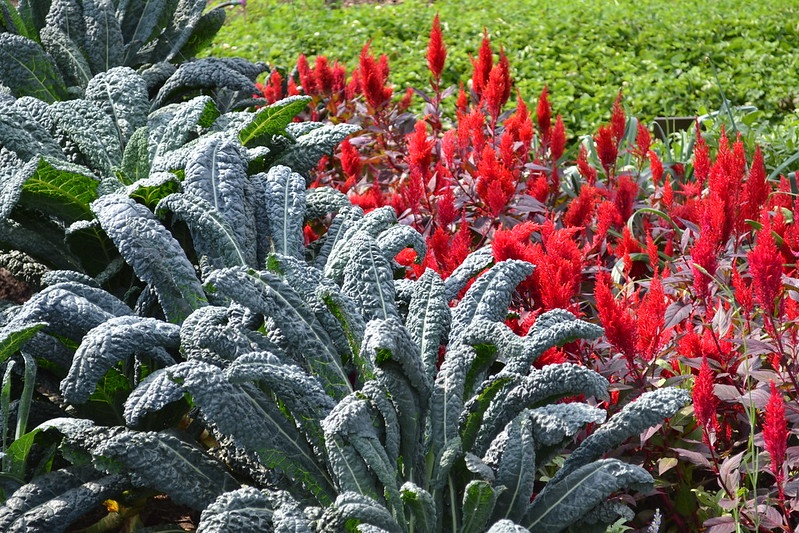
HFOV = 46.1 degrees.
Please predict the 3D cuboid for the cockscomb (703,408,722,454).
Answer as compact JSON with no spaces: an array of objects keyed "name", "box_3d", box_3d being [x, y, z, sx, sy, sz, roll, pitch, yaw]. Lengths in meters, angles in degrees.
[{"name":"cockscomb","box_3d":[1.067,0.578,3.223,0.051,0.144,0.047,-2,20,4]}]
